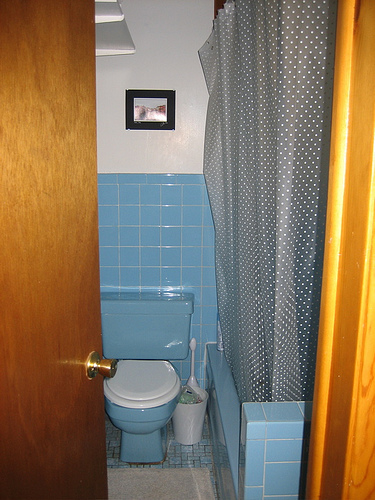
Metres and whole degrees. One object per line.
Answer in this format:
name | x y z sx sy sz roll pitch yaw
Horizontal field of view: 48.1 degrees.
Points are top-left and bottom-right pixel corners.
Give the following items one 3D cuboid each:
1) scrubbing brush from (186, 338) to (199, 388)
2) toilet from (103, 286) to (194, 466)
scrubbing brush | 0.021 0.593 2.202 0.057 0.252 0.035 0 11 0
toilet | -0.200 0.603 1.992 0.377 0.689 0.613 0 12 -5
